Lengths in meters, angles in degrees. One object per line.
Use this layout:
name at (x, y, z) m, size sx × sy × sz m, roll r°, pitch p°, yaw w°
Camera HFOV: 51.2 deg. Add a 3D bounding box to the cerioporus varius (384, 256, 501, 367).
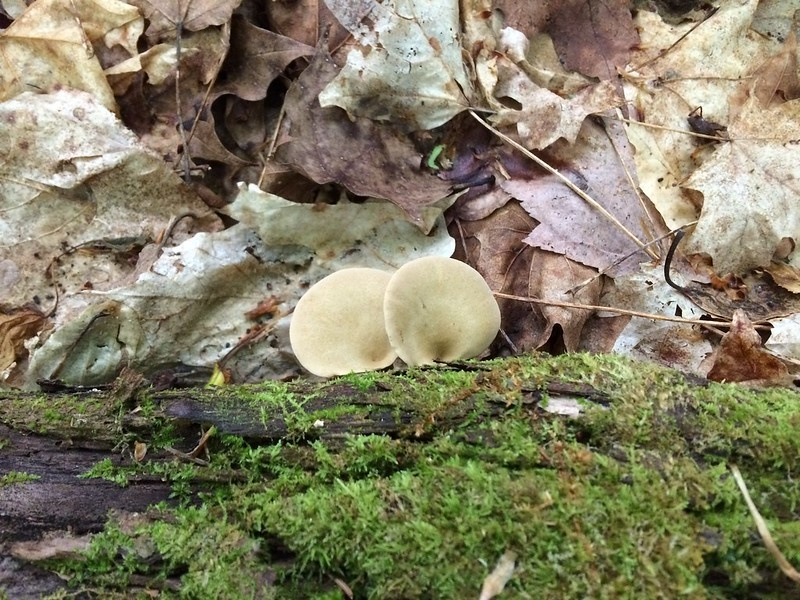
cerioporus varius at (0.231, 0.066, 4.321) m, size 0.623 × 0.565 × 0.240 m, roll 1°, pitch 8°, yaw -28°
